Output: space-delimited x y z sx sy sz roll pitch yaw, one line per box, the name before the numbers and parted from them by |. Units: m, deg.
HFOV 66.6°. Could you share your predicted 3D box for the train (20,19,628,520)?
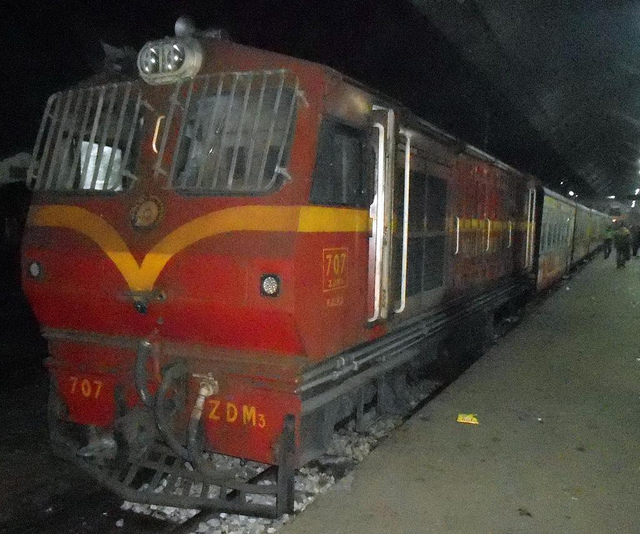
train | 1.547 -0.062 8.929 2.874 3.988 11.924 0 0 26
